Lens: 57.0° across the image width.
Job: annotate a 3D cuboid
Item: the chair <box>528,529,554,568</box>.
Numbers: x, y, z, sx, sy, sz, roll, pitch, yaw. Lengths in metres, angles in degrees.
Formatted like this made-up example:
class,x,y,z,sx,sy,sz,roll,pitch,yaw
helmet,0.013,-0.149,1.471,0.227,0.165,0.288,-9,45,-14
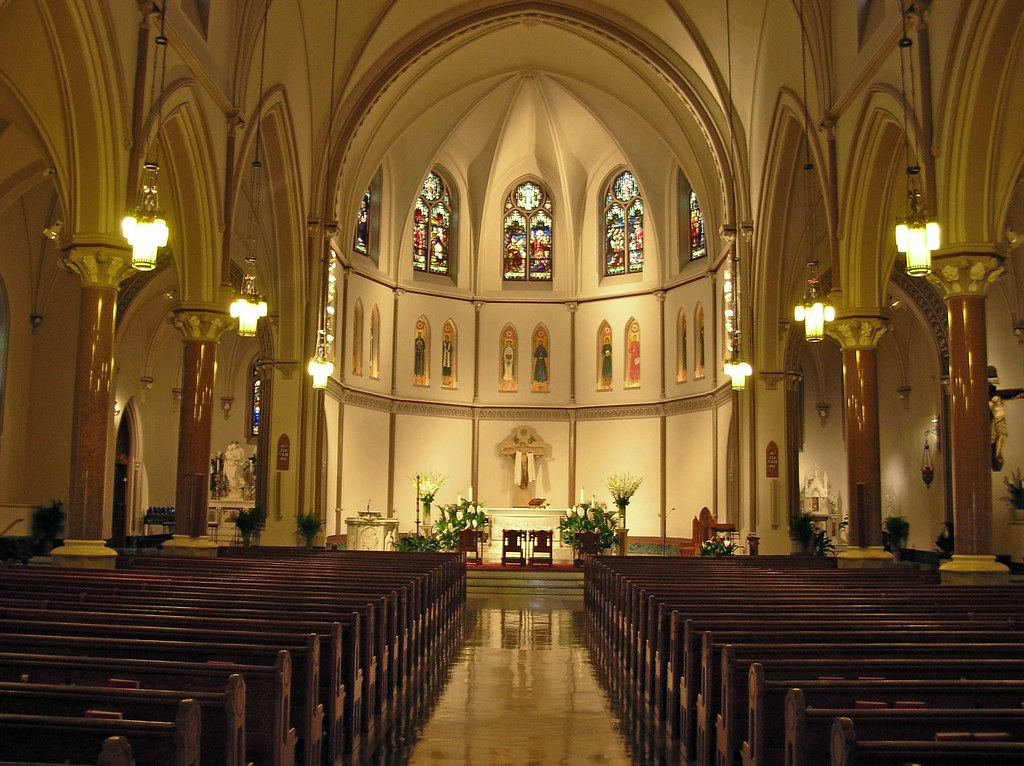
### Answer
class,x,y,z,sx,sy,sz,roll,pitch,yaw
chair,0.836,4.719,27.067,0.884,1.495,0.992,0,-16,0

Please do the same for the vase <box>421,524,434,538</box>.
class,x,y,z,sx,sy,sz,roll,pitch,yaw
vase,-2.637,4.710,29.923,0.339,0.525,0.366,2,-7,-9

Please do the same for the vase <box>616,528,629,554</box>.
class,x,y,z,sx,sy,sz,roll,pitch,yaw
vase,3.231,4.704,28.045,0.322,0.760,1.522,5,-7,6

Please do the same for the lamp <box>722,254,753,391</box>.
class,x,y,z,sx,sy,sz,roll,pitch,yaw
lamp,4.918,-1.438,20.845,0.749,3.035,0.807,-1,4,22

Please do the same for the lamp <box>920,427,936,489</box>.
class,x,y,z,sx,sy,sz,roll,pitch,yaw
lamp,12.085,2.266,27.678,0.274,1.615,1.051,3,-7,17
